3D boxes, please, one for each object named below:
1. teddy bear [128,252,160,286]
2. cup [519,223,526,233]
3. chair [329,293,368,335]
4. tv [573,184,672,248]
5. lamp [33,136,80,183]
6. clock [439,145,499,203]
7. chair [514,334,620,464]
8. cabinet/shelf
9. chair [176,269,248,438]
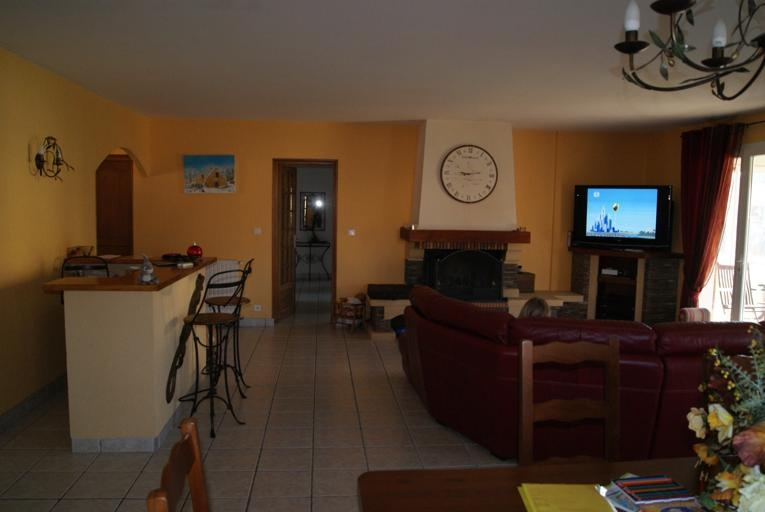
[{"bbox_3d":[-2.242,0.129,5.408,0.231,0.303,0.243,6,10,25],"label":"teddy bear"},{"bbox_3d":[2.070,-0.405,8.475,0.135,0.091,0.131,10,18,-3],"label":"cup"},{"bbox_3d":[-0.445,0.782,8.290,0.414,0.547,0.508,-2,4,-26],"label":"chair"},{"bbox_3d":[3.619,-0.593,8.500,0.967,0.646,0.103,3,2,21],"label":"tv"},{"bbox_3d":[-3.415,-0.952,6.031,0.334,0.616,0.539,0,6,-5],"label":"lamp"},{"bbox_3d":[1.177,-1.157,7.988,0.828,0.776,0.121,-1,4,-9],"label":"clock"},{"bbox_3d":[1.226,1.000,3.847,0.636,1.005,0.614,-3,2,3],"label":"chair"},{"bbox_3d":[3.603,0.411,8.397,1.150,1.043,0.480,1,1,38],"label":"cabinet/shelf"},{"bbox_3d":[-1.666,0.988,5.586,0.767,1.184,1.390,3,4,-4],"label":"chair"}]
